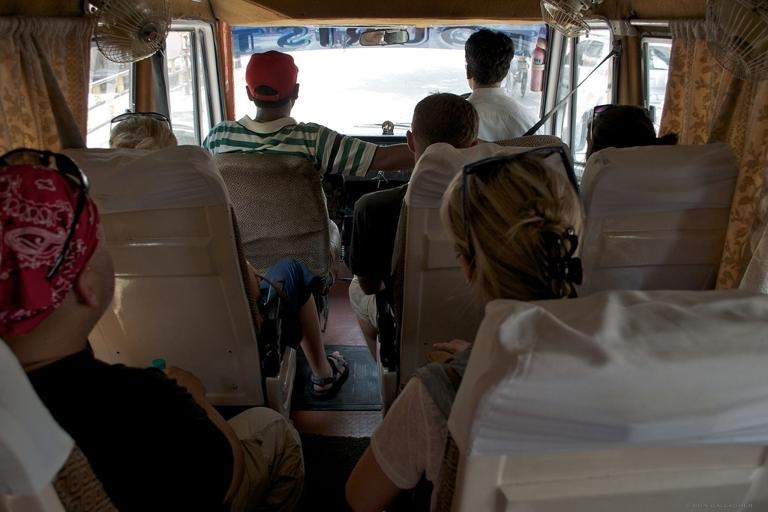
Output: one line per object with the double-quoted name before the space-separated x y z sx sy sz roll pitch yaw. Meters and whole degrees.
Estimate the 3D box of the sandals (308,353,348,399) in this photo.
"sandals" -0.308 0.694 3.440 0.135 0.112 0.280 6 31 13

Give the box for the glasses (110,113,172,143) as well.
"glasses" -1.154 -0.588 2.896 0.212 0.227 0.068 1 -8 -11

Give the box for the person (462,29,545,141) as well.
"person" 0.828 -1.216 4.291 0.508 0.763 0.499 0 15 2
